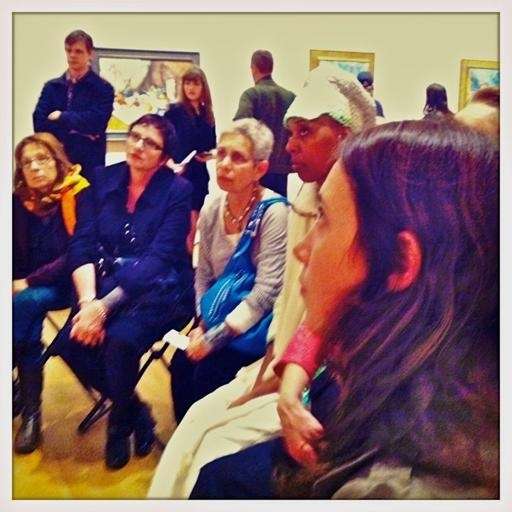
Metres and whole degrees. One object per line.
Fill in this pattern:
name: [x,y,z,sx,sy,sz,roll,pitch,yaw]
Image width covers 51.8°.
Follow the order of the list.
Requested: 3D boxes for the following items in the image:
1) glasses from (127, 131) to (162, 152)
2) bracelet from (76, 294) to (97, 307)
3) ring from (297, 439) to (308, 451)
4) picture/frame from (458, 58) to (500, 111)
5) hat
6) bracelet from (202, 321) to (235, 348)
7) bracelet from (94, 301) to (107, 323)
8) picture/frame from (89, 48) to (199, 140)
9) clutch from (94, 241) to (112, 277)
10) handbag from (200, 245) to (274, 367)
glasses: [-0.859,-0.831,4.005,0.162,0.055,0.172,28,-2,-1]
bracelet: [-1.286,0.342,4.003,0.084,0.096,0.089,-3,2,29]
ring: [0.344,1.423,3.934,0.058,0.075,0.014,6,10,8]
picture/frame: [1.680,-1.251,3.979,0.021,0.393,0.371,-7,22,-23]
hat: [0.579,-1.165,4.058,0.516,0.562,0.211,18,2,-9]
bracelet: [-0.276,0.608,3.978,0.207,0.225,0.164,-26,-40,15]
bracelet: [-1.167,0.421,3.993,0.093,0.154,0.031,9,11,22]
picture/frame: [-0.815,-1.248,3.982,0.604,0.574,0.044,0,7,-1]
clutch: [-1.159,0.039,4.007,0.118,0.223,0.075,-16,6,-25]
handbag: [-0.122,0.420,3.977,0.540,0.782,0.344,26,5,0]
